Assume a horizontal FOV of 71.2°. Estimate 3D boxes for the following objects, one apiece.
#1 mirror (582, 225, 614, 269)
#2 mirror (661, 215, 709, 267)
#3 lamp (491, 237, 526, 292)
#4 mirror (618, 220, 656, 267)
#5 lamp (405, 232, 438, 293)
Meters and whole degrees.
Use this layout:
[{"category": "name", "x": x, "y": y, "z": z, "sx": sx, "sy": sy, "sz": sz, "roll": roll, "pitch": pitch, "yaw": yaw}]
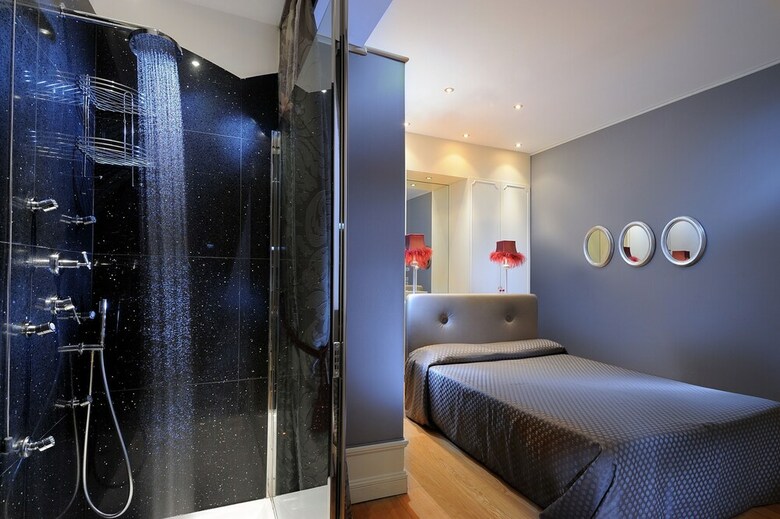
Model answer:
[{"category": "mirror", "x": 2.246, "y": -0.131, "z": 5.831, "sx": 0.048, "sy": 0.485, "sz": 0.425, "roll": 0, "pitch": -4, "yaw": -21}, {"category": "mirror", "x": 2.773, "y": -0.174, "z": 5.080, "sx": 0.054, "sy": 0.541, "sz": 0.464, "roll": 1, "pitch": -2, "yaw": -27}, {"category": "lamp", "x": 1.247, "y": 0.063, "z": 6.161, "sx": 0.497, "sy": 0.807, "sz": 0.565, "roll": 0, "pitch": -1, "yaw": 8}, {"category": "mirror", "x": 2.504, "y": -0.162, "z": 5.473, "sx": 0.055, "sy": 0.517, "sz": 0.449, "roll": 1, "pitch": -2, "yaw": -24}, {"category": "lamp", "x": 0.286, "y": 0.052, "z": 5.639, "sx": 0.241, "sy": 0.681, "sz": 0.632, "roll": -1, "pitch": 11, "yaw": 2}]
